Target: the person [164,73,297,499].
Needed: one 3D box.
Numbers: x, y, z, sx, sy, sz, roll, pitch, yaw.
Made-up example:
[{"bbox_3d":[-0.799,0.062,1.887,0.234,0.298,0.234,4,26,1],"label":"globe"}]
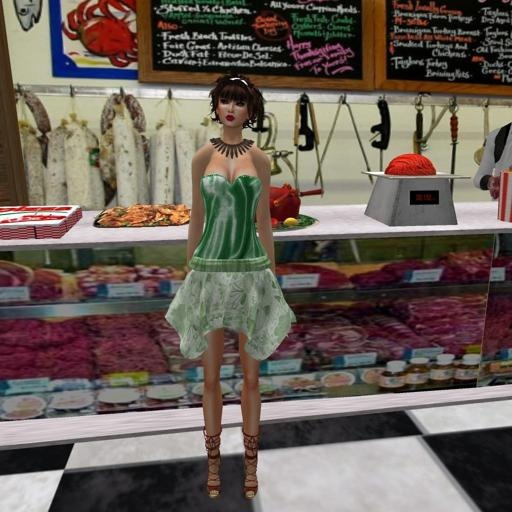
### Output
[{"bbox_3d":[-0.076,0.076,1.117,0.321,1.063,0.240,-3,15,-11],"label":"person"}]
